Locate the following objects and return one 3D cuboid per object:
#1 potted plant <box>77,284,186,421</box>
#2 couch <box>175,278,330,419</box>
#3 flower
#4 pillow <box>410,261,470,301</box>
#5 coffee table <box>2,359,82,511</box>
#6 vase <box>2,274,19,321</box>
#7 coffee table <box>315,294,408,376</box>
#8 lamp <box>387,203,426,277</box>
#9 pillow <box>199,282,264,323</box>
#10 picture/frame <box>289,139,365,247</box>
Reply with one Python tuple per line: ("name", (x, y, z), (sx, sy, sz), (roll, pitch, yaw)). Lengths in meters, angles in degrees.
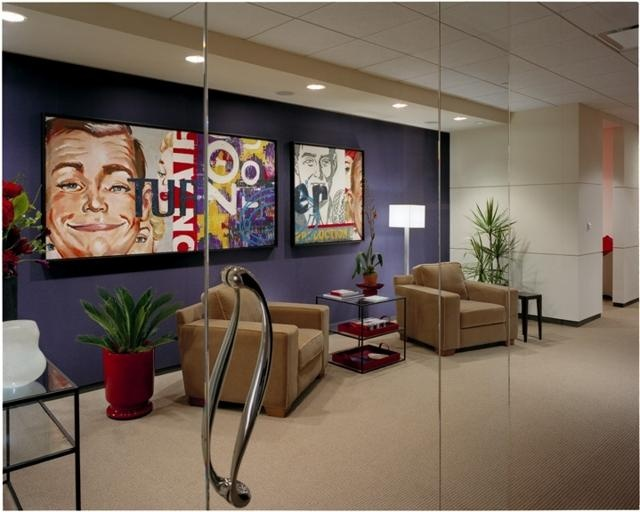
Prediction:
("potted plant", (-0.551, 0.280, 1.612), (0.365, 0.491, 0.337), (4, -5, -44))
("couch", (-0.165, 0.201, 1.394), (0.354, 0.373, 0.375), (2, 4, 22))
("flower", (-0.988, -0.100, 1.608), (0.116, 0.293, 0.362), (-4, 6, -29))
("pillow", (0.361, 0.079, 1.458), (0.212, 0.119, 0.044), (-5, 7, -33))
("coffee table", (-0.857, 0.535, 1.480), (0.135, 0.373, 0.390), (-5, 13, -35))
("vase", (-0.952, 0.125, 1.475), (0.044, 0.138, 0.037), (-6, 7, -42))
("coffee table", (0.119, 0.175, 1.446), (0.216, 0.229, 0.240), (-8, 11, -42))
("lamp", (0.263, -0.053, 1.420), (0.137, 0.199, 0.042), (-5, 7, -34))
("pillow", (-0.240, 0.138, 1.360), (0.135, 0.098, 0.106), (11, 37, -30))
("picture/frame", (0.011, -0.168, 1.341), (0.267, 0.352, 0.024), (0, 0, -29))
